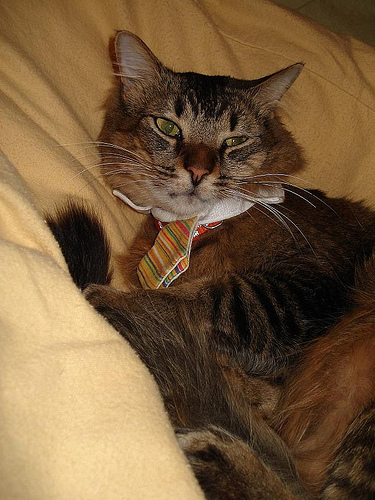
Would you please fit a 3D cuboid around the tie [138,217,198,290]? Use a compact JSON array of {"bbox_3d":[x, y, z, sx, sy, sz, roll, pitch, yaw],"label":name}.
[{"bbox_3d":[-0.038,0.003,1.023,0.046,0.147,0.113,44,4,-37],"label":"tie"}]
